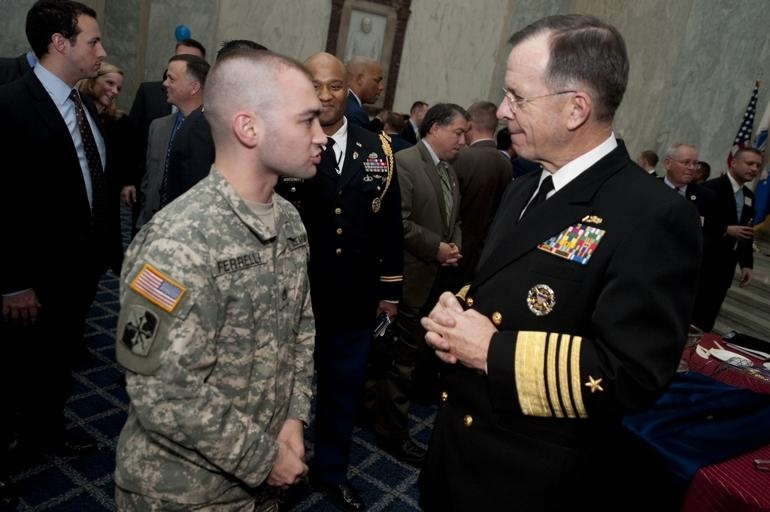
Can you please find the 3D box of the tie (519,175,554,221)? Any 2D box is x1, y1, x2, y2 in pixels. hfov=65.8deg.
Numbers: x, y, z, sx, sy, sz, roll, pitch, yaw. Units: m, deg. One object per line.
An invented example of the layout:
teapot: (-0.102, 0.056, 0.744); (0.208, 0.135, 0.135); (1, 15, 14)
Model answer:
tie: (0.601, -0.234, 2.293); (0.057, 0.170, 0.124); (40, 0, -33)

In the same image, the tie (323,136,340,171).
tie: (-0.279, -0.526, 3.101); (0.049, 0.060, 0.230); (-6, 60, 2)

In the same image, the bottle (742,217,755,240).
bottle: (3.332, -0.252, 5.436); (0.056, 0.211, 0.143); (8, 21, 34)
